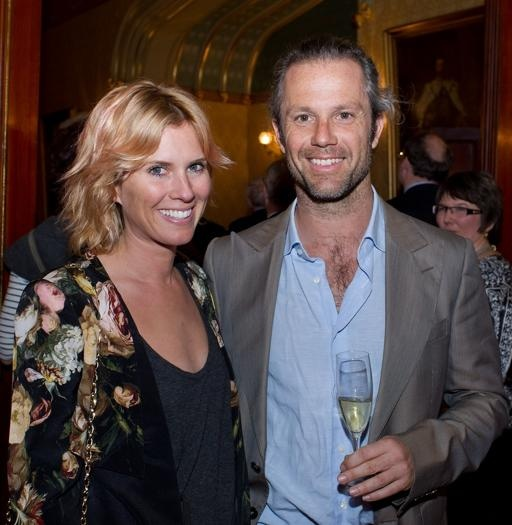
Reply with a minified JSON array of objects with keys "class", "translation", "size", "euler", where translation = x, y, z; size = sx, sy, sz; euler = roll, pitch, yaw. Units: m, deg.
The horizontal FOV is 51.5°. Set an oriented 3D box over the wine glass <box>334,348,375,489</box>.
[{"class":"wine glass","translation":[0.280,0.416,1.502],"size":[0.100,0.313,0.114],"euler":[3,10,38]}]
